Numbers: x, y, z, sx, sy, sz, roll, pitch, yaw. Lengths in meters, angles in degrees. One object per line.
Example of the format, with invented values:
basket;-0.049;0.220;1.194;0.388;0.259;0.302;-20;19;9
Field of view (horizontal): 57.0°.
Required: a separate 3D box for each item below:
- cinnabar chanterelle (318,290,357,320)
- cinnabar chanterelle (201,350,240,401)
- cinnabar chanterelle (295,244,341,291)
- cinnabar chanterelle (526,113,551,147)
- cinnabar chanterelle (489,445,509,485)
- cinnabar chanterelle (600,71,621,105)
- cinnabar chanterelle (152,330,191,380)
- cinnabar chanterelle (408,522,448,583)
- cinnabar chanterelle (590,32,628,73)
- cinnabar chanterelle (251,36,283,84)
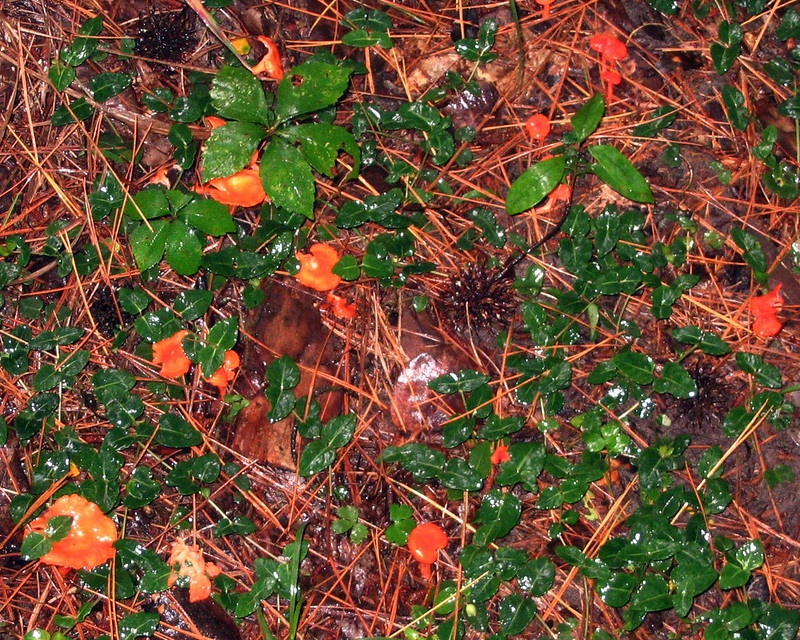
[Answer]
cinnabar chanterelle;-0.408;-0.097;5.024;0.219;0.055;0.140;42;96;14
cinnabar chanterelle;-1.177;0.373;4.909;0.091;0.204;0.286;-10;47;36
cinnabar chanterelle;-0.542;-0.358;4.958;0.307;0.153;0.310;5;87;0
cinnabar chanterelle;0.954;-1.328;5.066;0.179;0.130;0.173;-4;86;0
cinnabar chanterelle;0.645;0.913;4.798;0.042;0.094;0.154;28;67;-40
cinnabar chanterelle;1.481;-1.655;5.132;0.159;0.123;0.228;-5;87;0
cinnabar chanterelle;-1.496;0.231;4.821;0.241;0.112;0.318;5;91;-2
cinnabar chanterelle;0.155;1.478;4.746;0.257;0.178;0.332;30;87;2
cinnabar chanterelle;1.464;-1.925;5.159;0.223;0.097;0.281;-42;88;-2
cinnabar chanterelle;-0.900;-1.829;5.145;0.206;0.159;0.323;8;87;1
